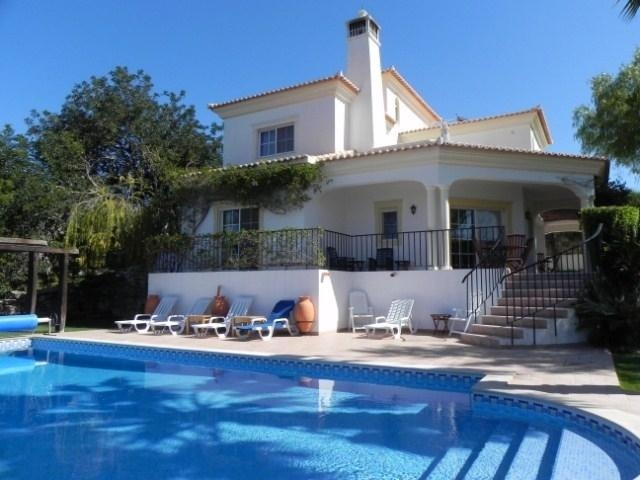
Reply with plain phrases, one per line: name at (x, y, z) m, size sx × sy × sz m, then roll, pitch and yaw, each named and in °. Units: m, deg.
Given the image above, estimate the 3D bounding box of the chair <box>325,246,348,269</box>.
chair at (0.525, 0.633, 16.846) m, size 0.658 × 0.963 × 0.635 m, roll -1°, pitch -1°, yaw 21°

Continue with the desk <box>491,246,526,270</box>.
desk at (5.710, 0.613, 15.359) m, size 0.790 × 0.771 × 1.339 m, roll -2°, pitch -11°, yaw 28°

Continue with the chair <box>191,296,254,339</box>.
chair at (-3.028, 2.387, 15.484) m, size 0.959 × 1.227 × 1.990 m, roll -4°, pitch -7°, yaw 29°

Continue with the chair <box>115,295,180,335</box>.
chair at (-5.668, 2.810, 16.612) m, size 0.810 × 1.222 × 2.218 m, roll 3°, pitch 18°, yaw 32°

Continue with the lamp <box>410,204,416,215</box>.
lamp at (3.319, -1.060, 17.855) m, size 0.263 × 0.410 × 0.271 m, roll -2°, pitch -6°, yaw 6°

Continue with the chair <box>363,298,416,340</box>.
chair at (2.063, 2.341, 14.933) m, size 0.889 × 1.065 × 1.442 m, roll -6°, pitch -8°, yaw 40°

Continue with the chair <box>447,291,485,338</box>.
chair at (4.148, 2.185, 14.529) m, size 1.094 × 1.730 × 0.997 m, roll 12°, pitch -15°, yaw -42°

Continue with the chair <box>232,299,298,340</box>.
chair at (-1.471, 2.384, 14.922) m, size 0.904 × 1.012 × 1.732 m, roll -5°, pitch -8°, yaw 33°

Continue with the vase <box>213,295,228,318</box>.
vase at (-3.215, 2.184, 16.498) m, size 0.507 × 0.730 × 0.552 m, roll -3°, pitch -13°, yaw 23°

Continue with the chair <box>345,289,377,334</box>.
chair at (1.303, 2.326, 15.920) m, size 0.668 × 1.300 × 0.915 m, roll 1°, pitch -6°, yaw -12°

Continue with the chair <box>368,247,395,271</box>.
chair at (2.085, 0.698, 17.023) m, size 0.697 × 0.787 × 0.737 m, roll -4°, pitch -5°, yaw 31°

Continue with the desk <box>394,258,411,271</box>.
desk at (2.821, 0.872, 17.204) m, size 0.509 × 0.371 × 1.123 m, roll -2°, pitch 8°, yaw 7°

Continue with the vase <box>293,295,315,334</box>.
vase at (-0.473, 2.251, 15.239) m, size 0.642 × 1.162 × 0.633 m, roll -4°, pitch 8°, yaw -33°

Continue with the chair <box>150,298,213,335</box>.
chair at (-4.545, 2.508, 16.487) m, size 0.863 × 1.355 × 2.822 m, roll -5°, pitch -7°, yaw 24°
